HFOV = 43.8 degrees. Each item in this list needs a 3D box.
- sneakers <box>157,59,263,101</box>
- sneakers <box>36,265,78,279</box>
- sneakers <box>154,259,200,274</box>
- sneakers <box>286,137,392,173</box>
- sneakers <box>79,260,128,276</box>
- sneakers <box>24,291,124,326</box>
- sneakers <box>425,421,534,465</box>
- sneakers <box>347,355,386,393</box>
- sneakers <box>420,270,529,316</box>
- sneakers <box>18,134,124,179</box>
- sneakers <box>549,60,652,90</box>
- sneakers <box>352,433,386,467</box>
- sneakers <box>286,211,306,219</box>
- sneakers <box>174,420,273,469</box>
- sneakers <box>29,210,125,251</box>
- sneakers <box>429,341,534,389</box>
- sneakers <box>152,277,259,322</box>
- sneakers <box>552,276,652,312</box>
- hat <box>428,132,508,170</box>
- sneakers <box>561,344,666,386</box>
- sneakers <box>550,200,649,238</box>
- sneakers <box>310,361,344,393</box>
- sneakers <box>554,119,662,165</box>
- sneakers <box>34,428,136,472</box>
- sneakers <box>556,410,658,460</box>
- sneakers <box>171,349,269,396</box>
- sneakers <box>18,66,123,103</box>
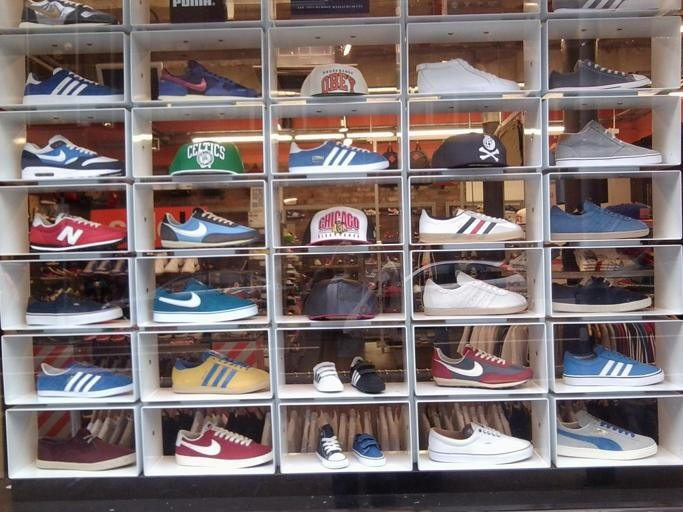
[{"bbox_3d":[-0.663,-0.933,4.618,0.643,0.199,0.254,0,-92,-3],"label":"sneakers"},{"bbox_3d":[-1.548,0.088,4.680,0.235,0.080,0.094,1,-88,-2],"label":"sneakers"},{"bbox_3d":[-0.885,0.059,4.653,0.255,0.086,0.103,1,-91,-11],"label":"sneakers"},{"bbox_3d":[-0.020,-0.541,4.720,0.592,0.195,0.211,0,-97,-1],"label":"sneakers"},{"bbox_3d":[-1.274,0.064,4.613,0.251,0.085,0.100,2,-90,4],"label":"sneakers"},{"bbox_3d":[-1.444,0.298,4.686,0.564,0.197,0.204,-1,-95,-2],"label":"sneakers"},{"bbox_3d":[0.740,1.022,4.645,0.589,0.215,0.218,0,-97,1],"label":"sneakers"},{"bbox_3d":[0.136,0.643,4.576,0.182,0.112,0.173,2,-78,-1],"label":"sneakers"},{"bbox_3d":[0.689,0.209,4.725,0.626,0.207,0.266,0,-96,0],"label":"sneakers"},{"bbox_3d":[-1.473,-0.516,4.593,0.624,0.211,0.268,1,-96,-6],"label":"sneakers"},{"bbox_3d":[1.366,-0.960,4.709,0.641,0.193,0.208,1,-94,0],"label":"sneakers"},{"bbox_3d":[0.144,1.037,4.561,0.175,0.145,0.141,-2,-78,-1],"label":"sneakers"},{"bbox_3d":[-0.249,-0.226,4.679,0.130,0.047,0.038,-1,-95,2],"label":"sneakers"},{"bbox_3d":[-0.654,1.046,4.681,0.601,0.204,0.262,1,-97,0],"label":"sneakers"},{"bbox_3d":[-1.424,-0.134,4.697,0.560,0.197,0.236,-1,-95,-3],"label":"sneakers"},{"bbox_3d":[0.720,0.625,4.714,0.622,0.207,0.266,0,-96,2],"label":"sneakers"},{"bbox_3d":[-0.754,0.254,4.696,0.590,0.213,0.234,0,-97,-1],"label":"sneakers"},{"bbox_3d":[1.370,0.219,4.689,0.578,0.196,0.209,0,-98,0],"label":"sneakers"},{"bbox_3d":[0.680,-0.554,4.597,0.287,0.210,0.113,2,-86,38],"label":"hat"},{"bbox_3d":[1.431,0.609,4.672,0.589,0.198,0.233,0,-95,-1],"label":"sneakers"},{"bbox_3d":[1.321,-0.190,4.624,0.593,0.196,0.237,1,-94,0],"label":"sneakers"},{"bbox_3d":[-0.083,0.663,4.582,0.144,0.101,0.169,-16,-78,2],"label":"sneakers"},{"bbox_3d":[1.375,-0.608,4.657,0.693,0.214,0.294,0,-96,1],"label":"sneakers"},{"bbox_3d":[-1.384,1.067,4.691,0.559,0.207,0.227,1,-99,0],"label":"sneakers"},{"bbox_3d":[1.371,0.988,4.682,0.622,0.210,0.265,1,-96,4],"label":"sneakers"},{"bbox_3d":[-0.655,0.654,4.702,0.572,0.214,0.245,1,-95,-1],"label":"sneakers"},{"bbox_3d":[-1.473,-0.903,4.622,0.602,0.200,0.221,0,-92,-3],"label":"sneakers"}]
